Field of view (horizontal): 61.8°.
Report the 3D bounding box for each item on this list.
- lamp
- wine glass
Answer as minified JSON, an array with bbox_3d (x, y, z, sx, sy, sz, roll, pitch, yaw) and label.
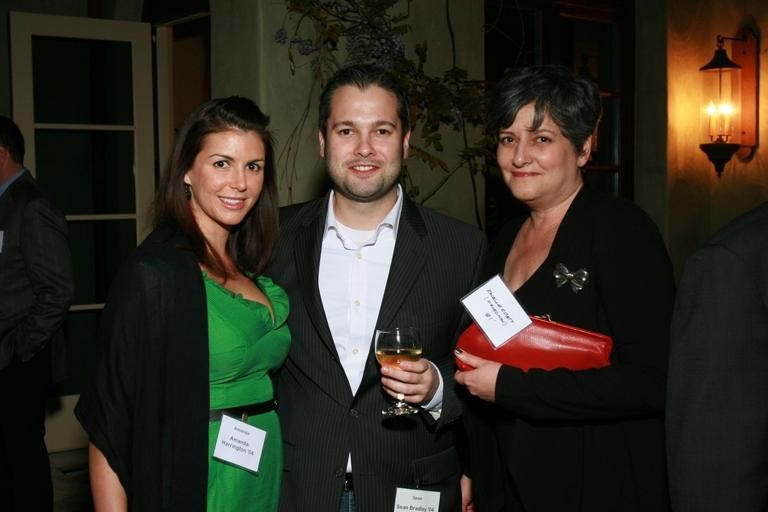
[{"bbox_3d":[3.069,-1.383,5.709,0.507,1.300,0.336,1,6,8],"label":"lamp"},{"bbox_3d":[0.053,0.497,2.641,0.188,0.424,0.193,-1,6,-10],"label":"wine glass"}]
